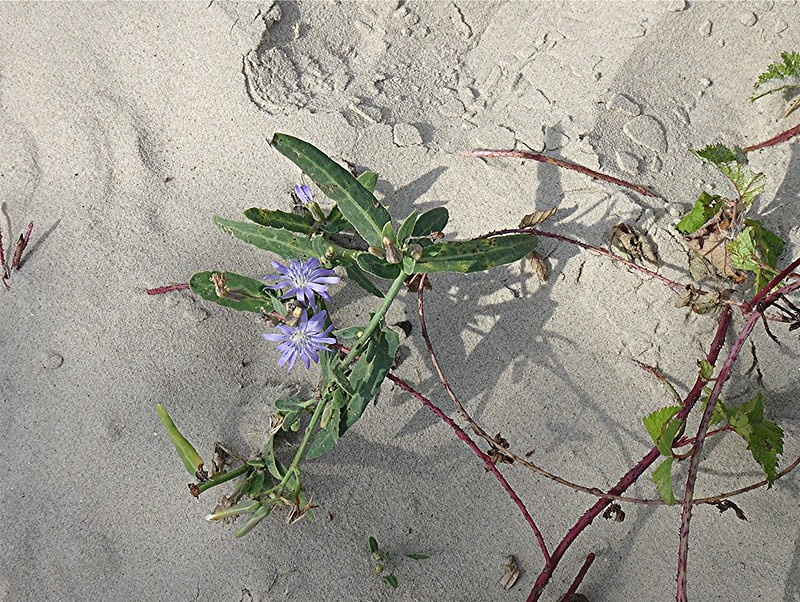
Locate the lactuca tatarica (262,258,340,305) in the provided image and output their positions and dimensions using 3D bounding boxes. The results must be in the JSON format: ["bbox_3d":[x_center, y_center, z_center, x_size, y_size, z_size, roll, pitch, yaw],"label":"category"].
[{"bbox_3d":[-0.359,-0.094,3.231,0.267,0.235,0.100,6,74,-64],"label":"lactuca tatarica"}]

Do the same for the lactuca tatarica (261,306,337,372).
[{"bbox_3d":[-0.360,0.169,3.177,0.237,0.264,0.128,-2,48,-21],"label":"lactuca tatarica"}]
